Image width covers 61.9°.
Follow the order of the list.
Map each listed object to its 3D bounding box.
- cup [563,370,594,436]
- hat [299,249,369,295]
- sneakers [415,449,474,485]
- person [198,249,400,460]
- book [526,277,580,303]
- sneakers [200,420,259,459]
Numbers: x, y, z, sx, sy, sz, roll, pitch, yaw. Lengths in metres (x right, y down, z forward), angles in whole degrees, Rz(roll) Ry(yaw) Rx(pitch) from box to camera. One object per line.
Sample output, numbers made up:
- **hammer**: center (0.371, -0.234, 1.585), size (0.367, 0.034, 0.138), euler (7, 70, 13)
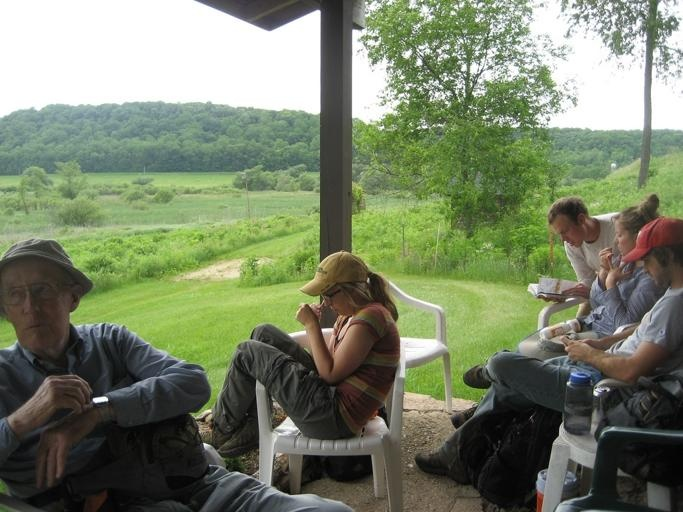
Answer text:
- **cup**: center (1.095, 0.658, 2.582), size (0.200, 0.266, 0.115), euler (-3, 6, -23)
- **hat**: center (-0.031, 0.097, 3.030), size (0.421, 0.243, 0.274), euler (-7, -7, 0)
- **sneakers**: center (0.581, 1.179, 3.307), size (0.331, 0.157, 0.114), euler (9, 20, 30)
- **person**: center (-0.251, 0.549, 3.041), size (1.059, 1.168, 0.550), euler (9, -2, 3)
- **book**: center (1.409, 0.214, 3.809), size (0.185, 0.079, 0.195), euler (-5, 11, -15)
- **sneakers**: center (-0.605, 0.970, 3.164), size (0.225, 0.131, 0.298), euler (32, -12, -10)
